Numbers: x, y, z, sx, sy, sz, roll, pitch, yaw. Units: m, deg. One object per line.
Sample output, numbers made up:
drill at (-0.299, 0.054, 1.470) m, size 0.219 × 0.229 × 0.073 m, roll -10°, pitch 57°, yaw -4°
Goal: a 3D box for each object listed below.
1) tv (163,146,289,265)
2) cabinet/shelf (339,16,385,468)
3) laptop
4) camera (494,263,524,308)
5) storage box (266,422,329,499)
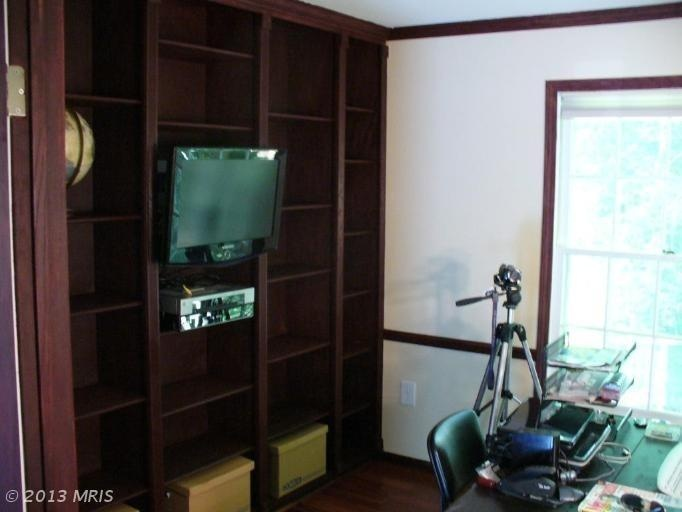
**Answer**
tv at (-0.620, -0.277, 2.907) m, size 0.043 × 0.529 × 0.577 m, roll 13°, pitch 16°, yaw 34°
cabinet/shelf at (0.165, 0.015, 3.897) m, size 0.338 × 2.899 × 0.482 m, roll 1°, pitch 12°, yaw -8°
laptop at (1.069, 0.806, 2.668) m, size 0.301 × 0.087 × 0.343 m, roll 4°, pitch 13°, yaw 23°
camera at (0.965, 0.178, 3.251) m, size 0.132 × 0.254 × 0.160 m, roll -4°, pitch -9°, yaw 16°
storage box at (-0.290, 1.282, 3.517) m, size 0.180 × 0.408 × 0.524 m, roll 1°, pitch 5°, yaw 31°
